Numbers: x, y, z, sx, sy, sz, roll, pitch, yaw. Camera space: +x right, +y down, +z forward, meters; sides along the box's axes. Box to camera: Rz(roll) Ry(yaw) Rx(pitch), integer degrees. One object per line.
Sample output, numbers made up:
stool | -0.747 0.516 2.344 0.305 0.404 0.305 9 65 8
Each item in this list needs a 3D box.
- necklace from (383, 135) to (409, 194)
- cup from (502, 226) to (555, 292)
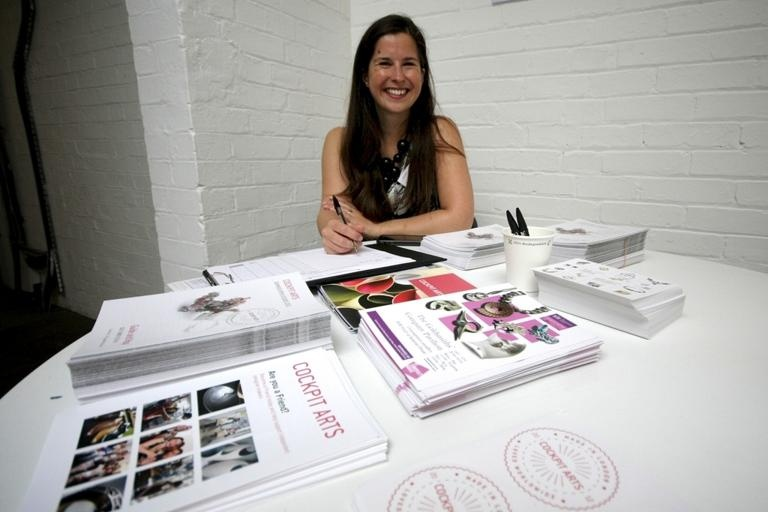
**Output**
necklace | 0.053 -0.391 1.960 0.119 0.215 0.064 3 -9 40
cup | 0.344 0.005 1.210 0.151 0.155 0.155 -1 16 0
